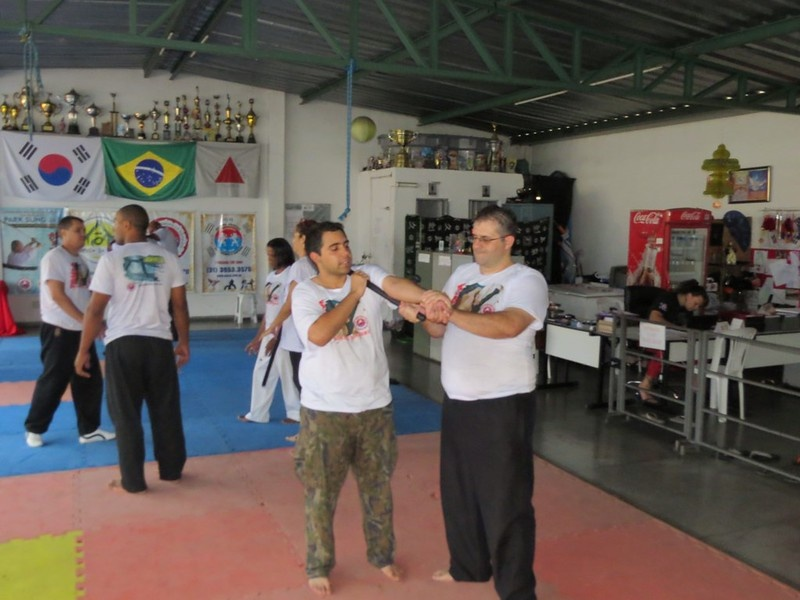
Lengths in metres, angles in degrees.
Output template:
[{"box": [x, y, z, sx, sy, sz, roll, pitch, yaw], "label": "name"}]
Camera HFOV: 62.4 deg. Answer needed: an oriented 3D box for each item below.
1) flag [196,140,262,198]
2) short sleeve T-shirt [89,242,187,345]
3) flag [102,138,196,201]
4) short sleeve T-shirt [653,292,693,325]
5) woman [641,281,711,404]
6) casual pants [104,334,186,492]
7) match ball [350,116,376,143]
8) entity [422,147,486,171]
[{"box": [-3.371, -2.559, 12.799, 1.131, 0.934, 0.056, -4, 9, -21], "label": "flag"}, {"box": [-2.068, -0.065, 5.227, 0.686, 0.771, 0.351, -3, 11, -19], "label": "short sleeve T-shirt"}, {"box": [-4.736, -2.443, 12.272, 1.242, 0.874, 0.104, -2, 13, -18], "label": "flag"}, {"box": [3.107, 0.082, 7.564, 0.352, 0.269, 0.196, 3, 17, -35], "label": "short sleeve T-shirt"}, {"box": [3.175, 0.427, 7.661, 0.541, 1.215, 0.705, -5, 20, -36], "label": "woman"}, {"box": [-2.021, 0.890, 5.277, 0.567, 1.262, 0.303, -4, 12, -25], "label": "casual pants"}, {"box": [-0.538, -2.744, 10.654, 0.457, 0.506, 0.451, -4, 10, 1], "label": "match ball"}, {"box": [0.995, -2.651, 12.418, 1.425, 0.402, 0.369, -3, 11, -22], "label": "entity"}]
